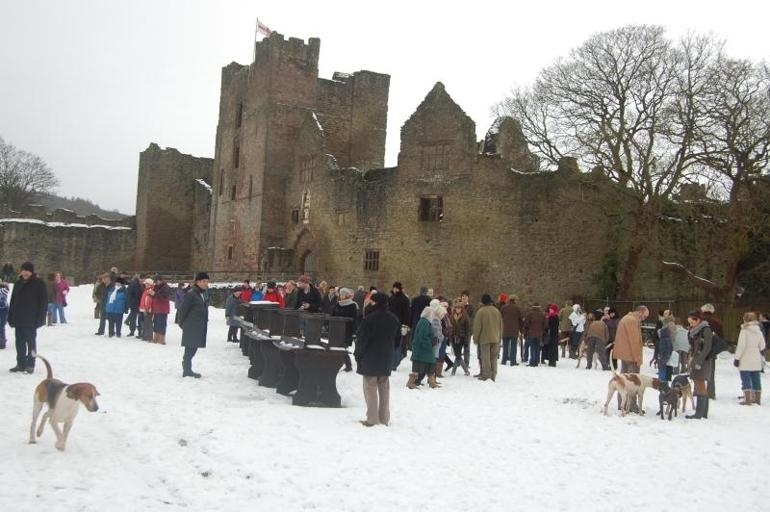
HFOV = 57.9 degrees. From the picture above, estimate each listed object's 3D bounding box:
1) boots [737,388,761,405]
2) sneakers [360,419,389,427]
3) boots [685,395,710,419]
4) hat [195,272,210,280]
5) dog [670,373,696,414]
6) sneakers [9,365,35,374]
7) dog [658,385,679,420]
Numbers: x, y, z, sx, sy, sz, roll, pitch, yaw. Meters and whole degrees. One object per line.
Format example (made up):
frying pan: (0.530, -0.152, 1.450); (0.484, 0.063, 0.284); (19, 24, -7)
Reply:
boots: (9.754, 3.770, 18.626); (0.492, 0.475, 0.431); (0, 4, 0)
sneakers: (-0.246, 3.712, 15.535); (0.626, 0.133, 0.229); (3, 8, -3)
boots: (7.708, 3.696, 17.184); (0.536, 0.684, 0.520); (1, -6, 43)
hat: (-4.998, 0.541, 18.921); (0.265, 0.175, 0.271); (1, -1, -30)
dog: (7.590, 3.351, 17.516); (0.302, 0.758, 1.478); (-10, 0, 22)
sneakers: (-9.090, 2.817, 17.392); (0.598, 0.298, 0.227); (0, -3, -8)
dog: (6.951, 3.514, 17.073); (0.463, 0.858, 0.833); (7, 8, 25)
